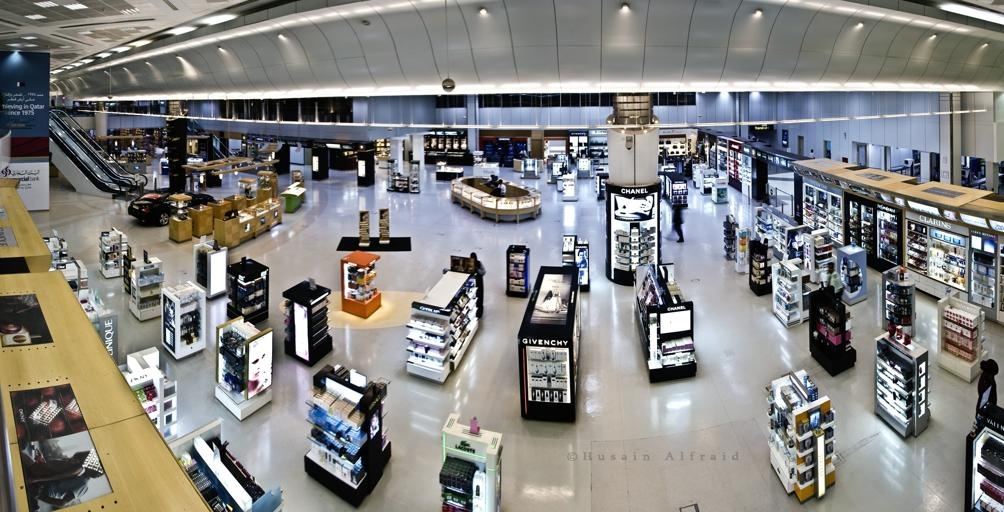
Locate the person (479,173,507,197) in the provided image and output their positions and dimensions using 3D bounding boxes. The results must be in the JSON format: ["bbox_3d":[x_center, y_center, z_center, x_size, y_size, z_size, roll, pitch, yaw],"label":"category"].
[{"bbox_3d":[-0.513,-3.831,31.499,0.774,0.378,2.257,-12,29,1],"label":"person"}]

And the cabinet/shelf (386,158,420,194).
[{"bbox_3d":[-5.946,-4.776,35.096,2.620,1.991,1.281,12,22,31],"label":"cabinet/shelf"}]

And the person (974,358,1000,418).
[{"bbox_3d":[11.824,3.197,14.233,0.386,1.023,2.211,10,16,40],"label":"person"}]

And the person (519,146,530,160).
[{"bbox_3d":[1.624,-7.821,44.230,0.662,0.694,1.125,1,13,8],"label":"person"}]
